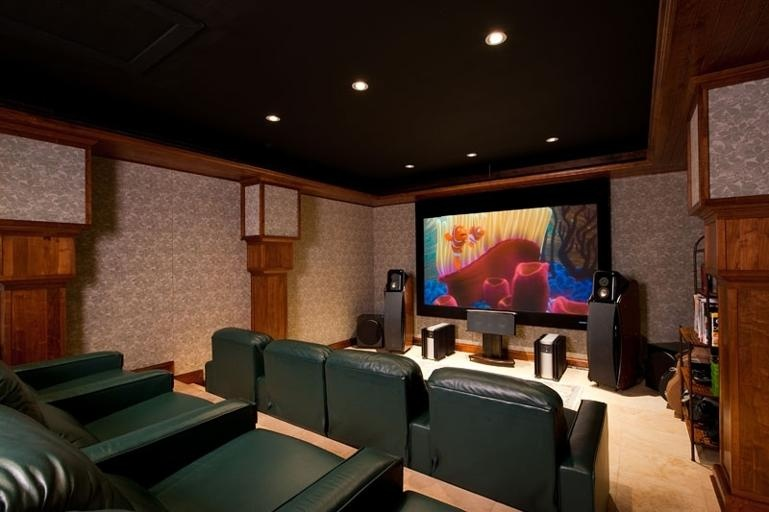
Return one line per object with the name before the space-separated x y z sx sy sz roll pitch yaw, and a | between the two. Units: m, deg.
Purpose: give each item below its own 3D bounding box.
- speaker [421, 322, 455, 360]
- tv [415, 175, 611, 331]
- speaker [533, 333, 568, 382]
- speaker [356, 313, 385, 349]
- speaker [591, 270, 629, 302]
speaker | 0.745 1.205 7.059 0.292 0.402 0.545 1 4 34
tv | 1.785 -0.045 6.651 2.335 1.613 0.108 -1 -3 34
speaker | 2.047 1.250 6.211 0.309 0.472 0.494 2 9 27
speaker | -0.191 1.146 7.599 0.452 0.454 0.346 0 -10 9
speaker | 2.610 0.282 5.938 0.257 0.408 0.419 5 27 27
